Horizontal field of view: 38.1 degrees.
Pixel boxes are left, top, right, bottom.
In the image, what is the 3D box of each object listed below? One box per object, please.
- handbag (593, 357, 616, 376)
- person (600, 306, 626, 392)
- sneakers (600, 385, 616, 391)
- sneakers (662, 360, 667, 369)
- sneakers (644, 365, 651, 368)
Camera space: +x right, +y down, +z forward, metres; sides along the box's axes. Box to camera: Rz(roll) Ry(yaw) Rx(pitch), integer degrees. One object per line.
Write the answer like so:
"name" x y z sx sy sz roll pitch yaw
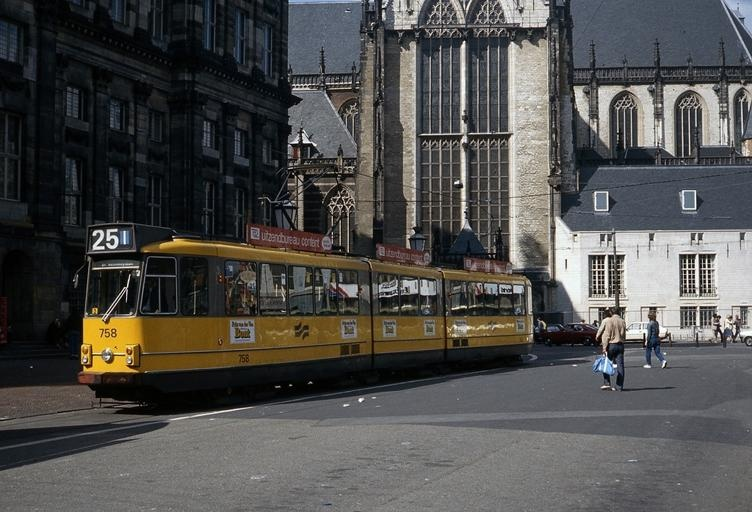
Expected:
"handbag" 7.004 3.333 33.467 0.690 0.649 1.556 1 5 13
"person" 7.258 2.898 33.609 0.690 2.481 1.422 0 5 11
"sneakers" 7.065 4.041 33.464 0.401 0.181 0.153 2 1 41
"sneakers" 10.697 4.101 40.798 0.183 0.226 0.523 6 -27 14
"sneakers" 10.059 4.135 40.709 0.117 0.120 0.268 0 2 -29
